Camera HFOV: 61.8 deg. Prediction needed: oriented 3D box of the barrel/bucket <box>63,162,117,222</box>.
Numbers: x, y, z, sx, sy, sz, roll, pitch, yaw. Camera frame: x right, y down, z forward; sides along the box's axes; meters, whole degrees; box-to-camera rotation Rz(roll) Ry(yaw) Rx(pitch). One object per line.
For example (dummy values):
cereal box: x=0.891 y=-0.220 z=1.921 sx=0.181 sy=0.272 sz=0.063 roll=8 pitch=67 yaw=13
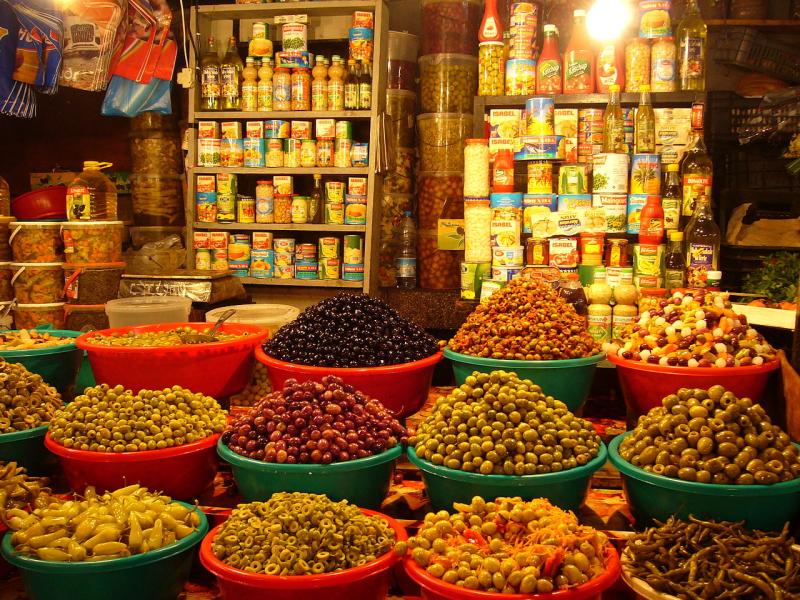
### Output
barrel/bucket: x=-1.802 y=-0.605 z=3.922 sx=0.394 sy=0.406 sz=0.222 roll=-3 pitch=10 yaw=-9

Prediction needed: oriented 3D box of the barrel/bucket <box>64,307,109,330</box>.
barrel/bucket: x=-1.782 y=0.107 z=3.780 sx=0.231 sy=0.134 sz=0.217 roll=0 pitch=-4 yaw=0

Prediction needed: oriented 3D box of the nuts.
nuts: x=0.985 y=0.086 z=2.434 sx=0.477 sy=0.277 sz=0.565 roll=-3 pitch=6 yaw=0

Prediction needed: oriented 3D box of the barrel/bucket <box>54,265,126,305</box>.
barrel/bucket: x=-1.724 y=-0.087 z=3.728 sx=0.277 sy=0.150 sz=0.266 roll=1 pitch=-1 yaw=0

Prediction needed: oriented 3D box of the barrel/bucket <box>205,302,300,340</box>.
barrel/bucket: x=-0.651 y=0.066 z=2.980 sx=0.354 sy=0.139 sz=0.398 roll=5 pitch=10 yaw=42

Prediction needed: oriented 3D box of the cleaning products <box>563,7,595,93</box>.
cleaning products: x=0.935 y=-1.269 z=3.518 sx=0.159 sy=0.442 sz=0.155 roll=5 pitch=10 yaw=34

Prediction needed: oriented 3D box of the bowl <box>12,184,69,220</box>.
bowl: x=-2.133 y=-0.574 z=4.015 sx=0.257 sy=0.093 sz=0.261 roll=-20 pitch=-9 yaw=-3

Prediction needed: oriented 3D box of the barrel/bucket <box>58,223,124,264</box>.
barrel/bucket: x=-1.751 y=-0.319 z=3.777 sx=0.341 sy=0.237 sz=0.171 roll=-1 pitch=4 yaw=-14

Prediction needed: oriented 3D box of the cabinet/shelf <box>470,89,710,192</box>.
cabinet/shelf: x=0.987 y=-0.793 z=3.379 sx=1.138 sy=0.474 sz=0.296 roll=0 pitch=9 yaw=10

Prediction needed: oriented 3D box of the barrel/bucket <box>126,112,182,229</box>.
barrel/bucket: x=-1.776 y=-0.929 z=4.885 sx=0.355 sy=0.791 sz=0.185 roll=-2 pitch=4 yaw=-18

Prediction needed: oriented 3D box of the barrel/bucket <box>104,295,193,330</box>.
barrel/bucket: x=-1.097 y=0.050 z=2.979 sx=0.370 sy=0.126 sz=0.235 roll=-1 pitch=9 yaw=5

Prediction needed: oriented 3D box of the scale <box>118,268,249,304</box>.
scale: x=-1.246 y=-0.090 z=3.950 sx=0.673 sy=0.177 sz=0.469 roll=-1 pitch=7 yaw=9
